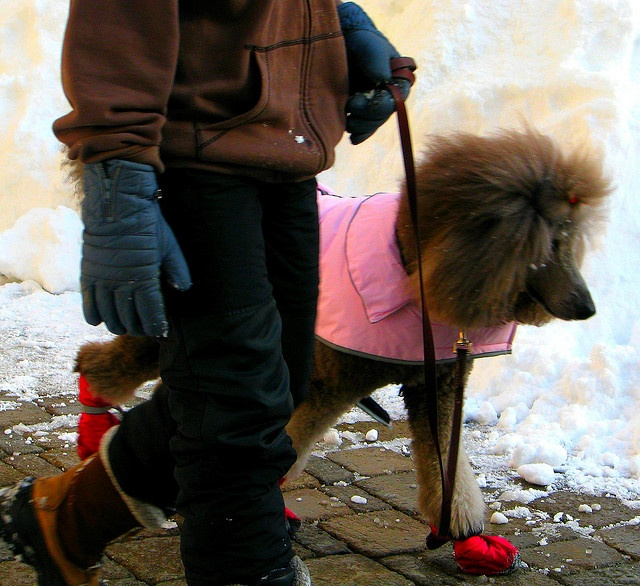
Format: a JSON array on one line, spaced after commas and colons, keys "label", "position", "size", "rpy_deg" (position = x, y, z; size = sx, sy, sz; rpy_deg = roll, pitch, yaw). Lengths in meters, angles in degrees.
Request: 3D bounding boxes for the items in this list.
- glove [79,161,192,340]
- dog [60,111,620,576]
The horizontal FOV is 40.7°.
[{"label": "glove", "position": [-0.433, -0.100, 1.978], "size": [0.249, 0.409, 0.087], "rpy_deg": [-5, 14, -9]}, {"label": "dog", "position": [0.256, 0.100, 3.462], "size": [1.042, 1.374, 2.813], "rpy_deg": [-15, 14, -36]}]
